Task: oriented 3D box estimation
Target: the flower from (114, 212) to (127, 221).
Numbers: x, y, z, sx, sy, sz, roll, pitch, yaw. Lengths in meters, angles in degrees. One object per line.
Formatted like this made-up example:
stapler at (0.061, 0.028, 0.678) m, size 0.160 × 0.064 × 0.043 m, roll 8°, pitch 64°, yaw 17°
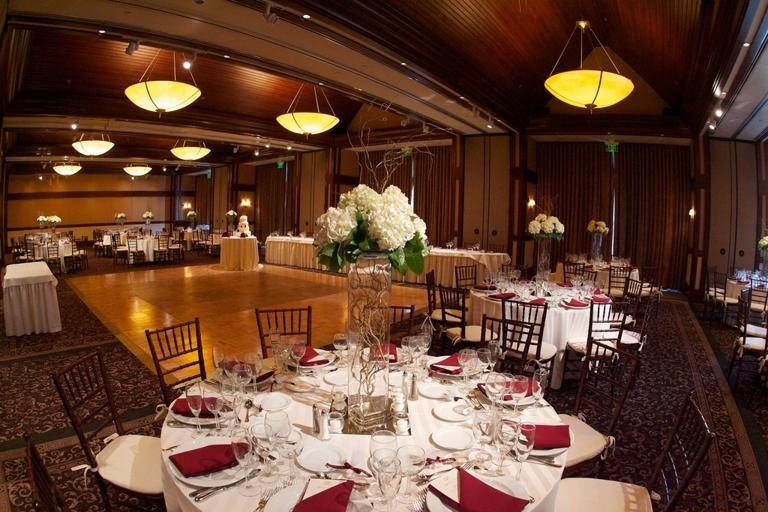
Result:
flower at (-11.741, -1.781, 20.663) m, size 0.627 × 0.233 × 0.686 m, roll -1°, pitch -9°, yaw 2°

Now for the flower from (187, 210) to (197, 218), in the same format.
flower at (-9.274, -2.038, 22.450) m, size 0.670 × 0.219 × 0.661 m, roll 2°, pitch 1°, yaw -36°

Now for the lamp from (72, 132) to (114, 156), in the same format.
lamp at (-8.094, -3.154, 12.893) m, size 1.037 × 0.744 × 1.058 m, roll 2°, pitch 12°, yaw 1°

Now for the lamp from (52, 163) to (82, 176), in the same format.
lamp at (-12.326, -3.403, 18.048) m, size 0.743 × 0.440 × 0.766 m, roll 1°, pitch -2°, yaw 16°

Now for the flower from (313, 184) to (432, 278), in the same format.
flower at (-0.069, -0.197, 3.651) m, size 0.762 × 0.621 × 0.749 m, roll 6°, pitch 7°, yaw -45°

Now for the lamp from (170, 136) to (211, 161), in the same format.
lamp at (-6.148, -3.461, 14.748) m, size 1.077 × 0.803 × 1.164 m, roll 1°, pitch 16°, yaw -11°

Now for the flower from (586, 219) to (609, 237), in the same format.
flower at (5.169, -0.682, 11.245) m, size 0.527 × 0.481 × 0.498 m, roll 8°, pitch 3°, yaw 9°

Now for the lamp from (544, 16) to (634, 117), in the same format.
lamp at (3.048, -2.912, 7.070) m, size 1.209 × 1.267 × 1.200 m, roll 0°, pitch 6°, yaw 30°
